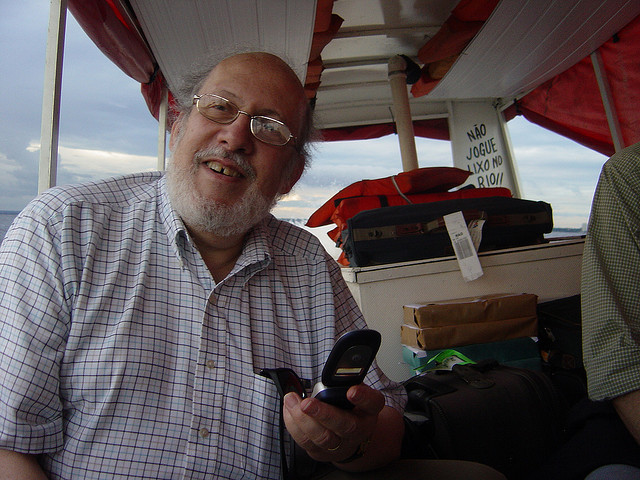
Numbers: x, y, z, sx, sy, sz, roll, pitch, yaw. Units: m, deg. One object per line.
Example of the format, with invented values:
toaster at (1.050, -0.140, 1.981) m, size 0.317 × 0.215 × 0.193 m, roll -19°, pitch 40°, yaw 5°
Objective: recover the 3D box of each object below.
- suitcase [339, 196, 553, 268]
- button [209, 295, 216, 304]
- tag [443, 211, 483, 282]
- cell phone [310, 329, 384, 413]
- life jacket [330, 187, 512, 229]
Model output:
suitcase at (0.740, -0.070, 2.615) m, size 0.746 × 0.169 × 0.695 m, roll -6°, pitch -3°, yaw -4°
button at (-0.359, 0.199, 1.476) m, size 0.007 × 0.022 × 0.026 m, roll -1°, pitch -8°, yaw 39°
tag at (0.886, 0.047, 2.740) m, size 0.146 × 0.434 × 0.139 m, roll -9°, pitch 9°, yaw -8°
cell phone at (0.067, 0.385, 1.311) m, size 0.153 × 0.307 × 0.081 m, roll 22°, pitch 27°, yaw -21°
life jacket at (0.642, -0.267, 3.787) m, size 1.485 × 0.307 × 0.875 m, roll 1°, pitch 3°, yaw -6°
